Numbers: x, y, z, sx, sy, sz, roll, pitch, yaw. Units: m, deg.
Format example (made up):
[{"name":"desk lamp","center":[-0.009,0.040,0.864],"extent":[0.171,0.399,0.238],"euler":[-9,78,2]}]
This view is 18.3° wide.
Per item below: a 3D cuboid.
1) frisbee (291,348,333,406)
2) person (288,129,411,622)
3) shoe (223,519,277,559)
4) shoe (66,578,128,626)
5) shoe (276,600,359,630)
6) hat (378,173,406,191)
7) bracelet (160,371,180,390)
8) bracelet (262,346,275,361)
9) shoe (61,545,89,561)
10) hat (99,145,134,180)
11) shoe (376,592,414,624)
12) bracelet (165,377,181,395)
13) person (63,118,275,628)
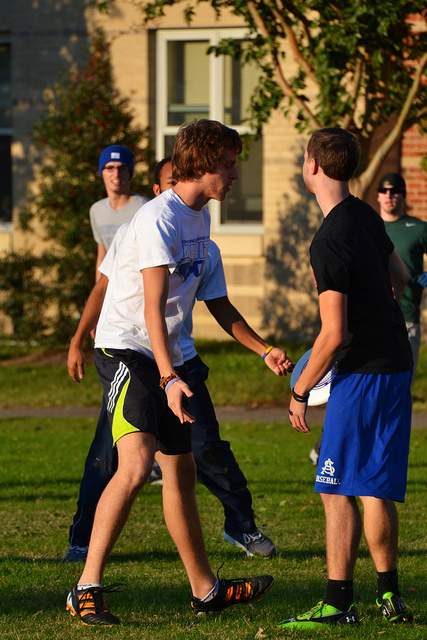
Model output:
[{"name":"frisbee","center":[0.517,0.291,6.553],"extent":[0.050,0.259,0.239],"euler":[33,-15,-33]},{"name":"person","center":[0.651,0.250,6.285],"extent":[0.582,2.301,0.435],"euler":[-1,4,1]},{"name":"shoe","center":[0.210,1.257,7.530],"extent":[0.330,0.156,0.127],"euler":[22,19,28]},{"name":"shoe","center":[-0.561,1.323,6.223],"extent":[0.120,0.201,0.331],"euler":[0,2,-35]},{"name":"shoe","center":[0.479,1.394,6.248],"extent":[0.401,0.179,0.147],"euler":[0,-17,0]},{"name":"hat","center":[1.361,-1.053,10.101],"extent":[0.134,0.122,0.143],"euler":[7,5,11]},{"name":"bracelet","center":[-0.207,0.271,5.987],"extent":[0.062,0.077,0.037],"euler":[-4,-26,33]},{"name":"bracelet","center":[0.283,0.177,6.961],"extent":[0.050,0.069,0.133],"euler":[-1,4,1]},{"name":"shoe","center":[-0.754,1.288,7.311],"extent":[0.075,0.105,0.212],"euler":[0,-5,32]},{"name":"hat","center":[-0.698,-1.136,9.506],"extent":[0.235,0.229,0.276],"euler":[-1,4,-7]},{"name":"shoe","center":[0.854,1.356,6.276],"extent":[0.088,0.095,0.183],"euler":[-7,19,-9]},{"name":"bracelet","center":[-0.189,0.301,5.984],"extent":[0.079,0.079,0.050],"euler":[0,4,16]},{"name":"person","center":[-0.246,0.242,6.288],"extent":[0.921,2.379,0.708],"euler":[-3,5,-34]}]
